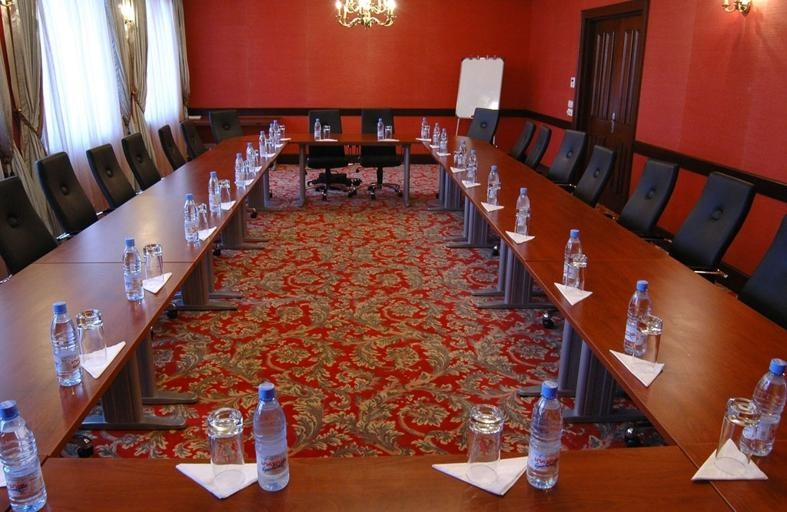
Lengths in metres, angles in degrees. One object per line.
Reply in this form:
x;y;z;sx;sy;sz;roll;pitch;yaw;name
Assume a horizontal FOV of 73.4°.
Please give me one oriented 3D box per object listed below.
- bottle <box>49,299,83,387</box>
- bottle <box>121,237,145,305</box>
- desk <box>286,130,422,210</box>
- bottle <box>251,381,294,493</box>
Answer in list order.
-1.561;0.438;2.506;0.112;0.305;0.213;-14;26;-34;bottle
-1.620;0.040;3.273;0.124;0.337;0.443;-9;24;-25;bottle
-0.665;-1.470;8.645;2.054;0.996;1.365;0;21;-5;desk
-0.470;0.686;2.026;0.127;0.414;0.155;-4;22;-15;bottle
